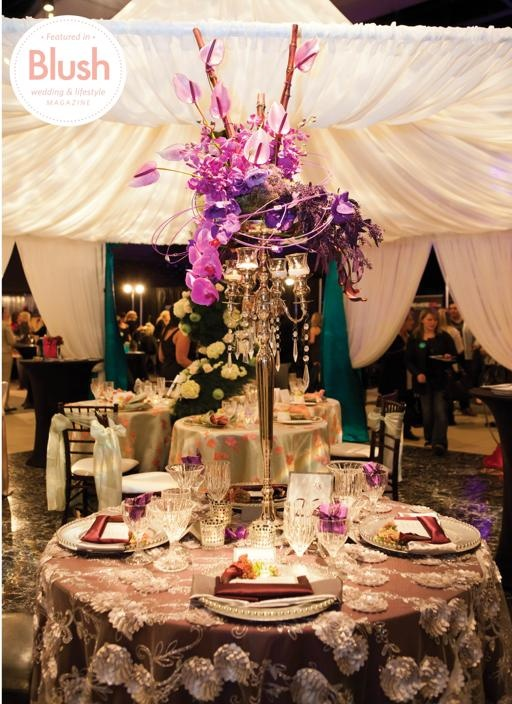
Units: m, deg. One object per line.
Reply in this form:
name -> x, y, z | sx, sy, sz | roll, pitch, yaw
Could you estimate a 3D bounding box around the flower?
flower -> -0.007, -0.585, 1.534 | 0.586, 0.909, 0.429 | 0, 2, -34
